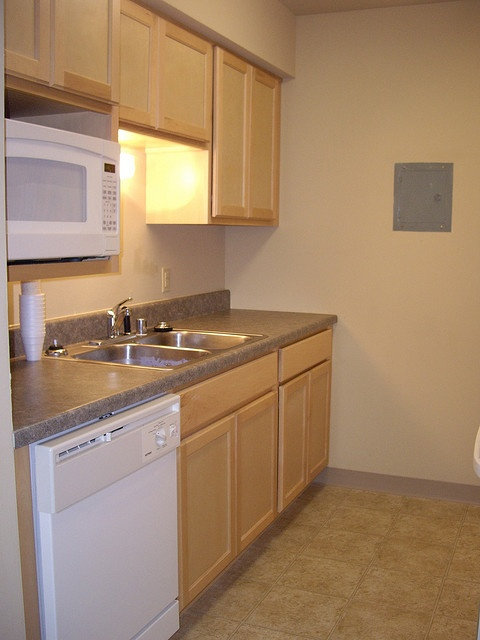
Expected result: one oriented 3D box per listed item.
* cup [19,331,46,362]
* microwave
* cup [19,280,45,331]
[{"bbox_3d":[-0.611,0.076,1.556,0.070,0.085,0.073,2,7,0],"label":"cup"},{"bbox_3d":[-0.404,-0.288,1.193,0.185,0.259,0.383,3,9,17],"label":"microwave"},{"bbox_3d":[-0.618,-0.043,1.558,0.070,0.143,0.081,-1,2,-24],"label":"cup"}]
